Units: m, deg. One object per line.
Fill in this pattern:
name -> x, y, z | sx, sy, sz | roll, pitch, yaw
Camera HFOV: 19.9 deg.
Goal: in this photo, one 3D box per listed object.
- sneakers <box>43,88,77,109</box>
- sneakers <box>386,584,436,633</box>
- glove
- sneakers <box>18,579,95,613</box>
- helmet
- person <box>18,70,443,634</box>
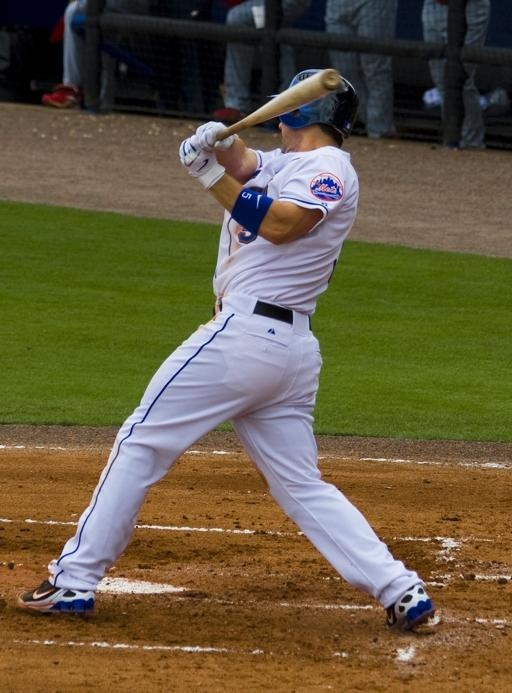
sneakers -> -1.680, -2.130, 12.572 | 0.205, 0.109, 0.257 | -4, 8, -27
sneakers -> 0.544, 0.921, 5.102 | 0.112, 0.116, 0.228 | -8, -1, -11
glove -> -0.159, -0.643, 5.083 | 0.188, 0.223, 0.094 | -18, -30, 9
sneakers -> -0.689, 0.888, 5.189 | 0.304, 0.130, 0.102 | 3, -2, 3
helmet -> 0.231, -0.875, 5.296 | 0.292, 0.239, 0.219 | 27, 3, 25
person -> -0.010, -0.006, 5.209 | 1.333, 1.973, 0.510 | 1, 8, 0
